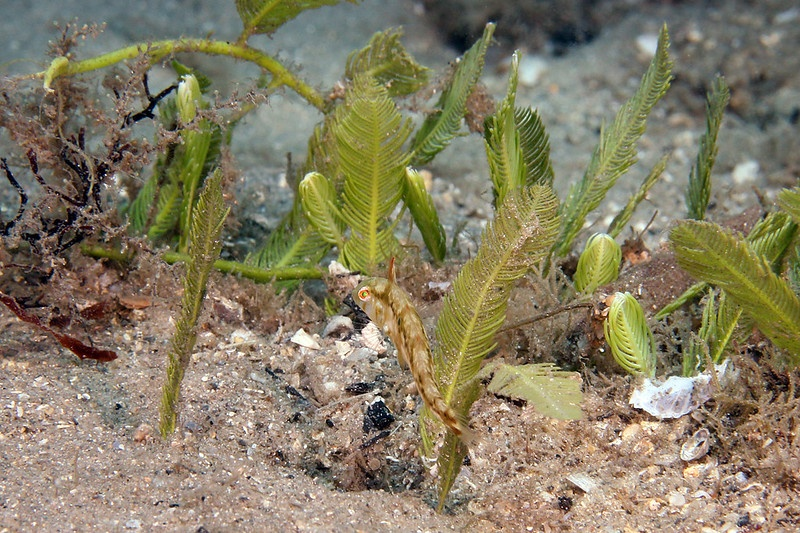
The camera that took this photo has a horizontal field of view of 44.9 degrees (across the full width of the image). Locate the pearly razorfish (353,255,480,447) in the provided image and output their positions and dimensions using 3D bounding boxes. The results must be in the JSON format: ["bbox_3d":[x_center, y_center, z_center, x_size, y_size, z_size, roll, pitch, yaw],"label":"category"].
[{"bbox_3d":[0.064,0.366,4.495,0.189,0.535,1.226,-12,34,-16],"label":"pearly razorfish"}]
